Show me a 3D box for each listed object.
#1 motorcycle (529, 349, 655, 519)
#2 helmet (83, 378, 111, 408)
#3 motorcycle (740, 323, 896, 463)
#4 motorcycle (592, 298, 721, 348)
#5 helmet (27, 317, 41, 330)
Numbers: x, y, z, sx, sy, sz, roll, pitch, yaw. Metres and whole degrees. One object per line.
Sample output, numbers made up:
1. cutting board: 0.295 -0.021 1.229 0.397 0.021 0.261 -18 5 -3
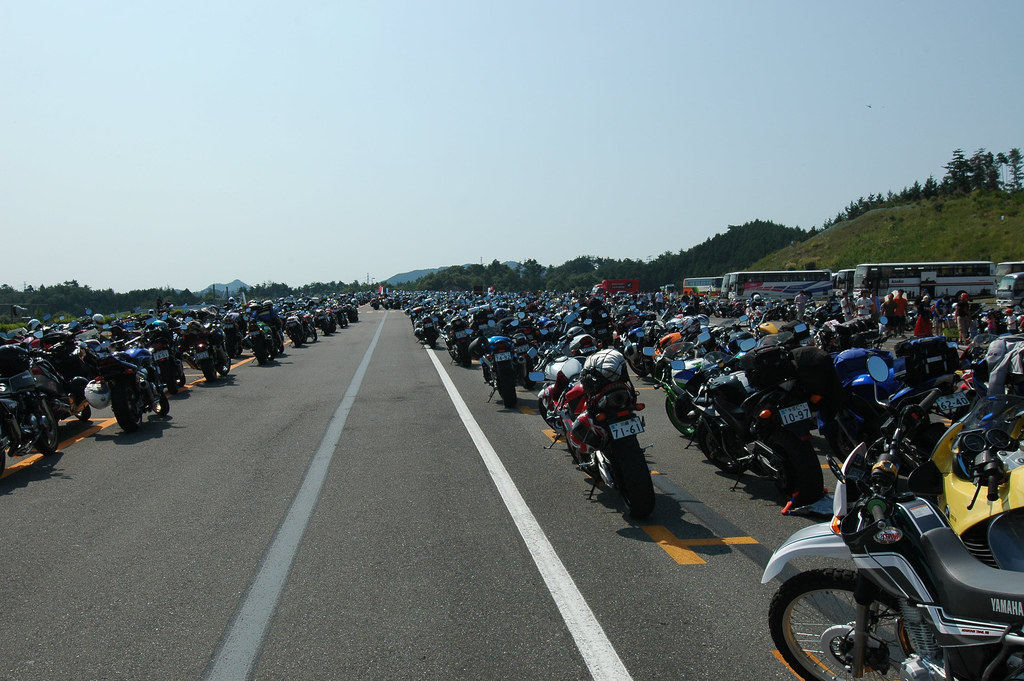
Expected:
1. motorcycle: 0.980 0.933 7.755 0.701 1.703 1.726 -2 8 -12
2. helmet: -6.830 0.865 11.322 0.542 0.452 0.292 4 9 28
3. motorcycle: 3.425 0.609 7.682 0.995 1.057 1.688 -5 24 -7
4. motorcycle: 3.314 -0.435 18.046 2.671 1.623 1.399 2 9 1
5. helmet: -9.939 -0.365 14.248 0.249 0.310 0.326 -6 17 -35
